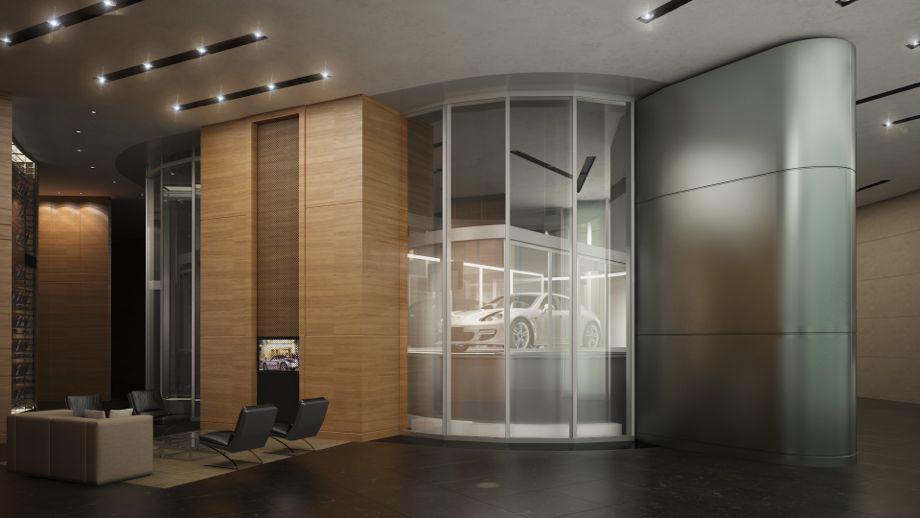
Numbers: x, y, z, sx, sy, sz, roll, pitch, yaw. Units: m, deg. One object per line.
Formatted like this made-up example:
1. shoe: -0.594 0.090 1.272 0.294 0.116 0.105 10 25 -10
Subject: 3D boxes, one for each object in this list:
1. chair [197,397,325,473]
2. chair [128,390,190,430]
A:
1. chair: -4.061 4.009 13.829 1.799 1.680 3.202 -7 0 12
2. chair: -7.874 3.749 16.525 1.217 1.316 1.097 -3 -7 21
